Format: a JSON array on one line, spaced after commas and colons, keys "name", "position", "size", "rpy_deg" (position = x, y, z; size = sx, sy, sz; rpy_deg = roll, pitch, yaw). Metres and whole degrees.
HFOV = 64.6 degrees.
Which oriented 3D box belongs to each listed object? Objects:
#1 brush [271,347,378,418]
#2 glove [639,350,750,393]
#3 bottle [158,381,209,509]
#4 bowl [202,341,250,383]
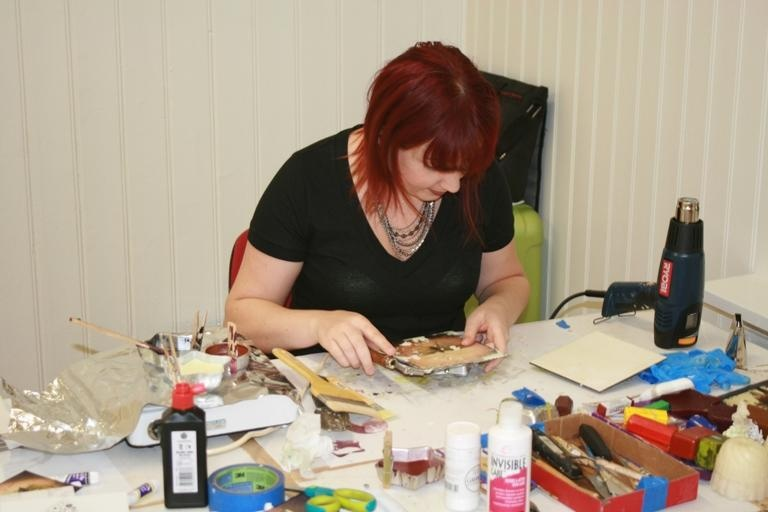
[{"name": "brush", "position": [-0.099, 0.266, 1.395], "size": [0.209, 0.103, 0.250], "rpy_deg": [-10, 19, -38]}, {"name": "glove", "position": [0.759, 0.275, 1.468], "size": [0.130, 0.024, 0.132], "rpy_deg": [-11, 20, -5]}, {"name": "bottle", "position": [-0.348, 0.337, 1.086], "size": [0.083, 0.215, 0.091], "rpy_deg": [1, 14, -11]}, {"name": "bowl", "position": [-0.350, 0.228, 1.378], "size": [0.092, 0.070, 0.091], "rpy_deg": [2, 16, -1]}]
